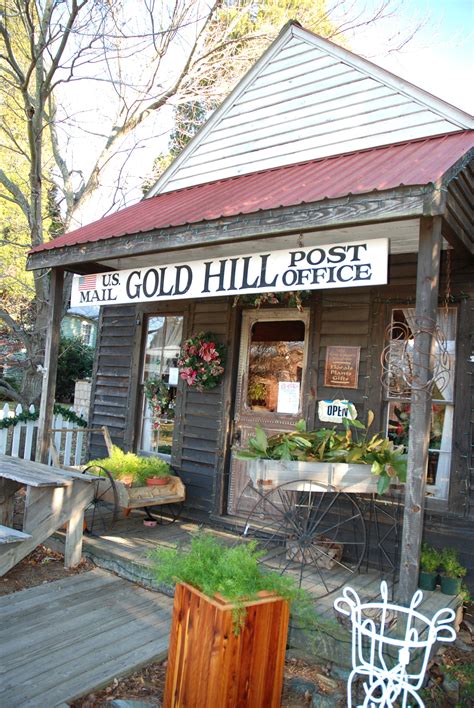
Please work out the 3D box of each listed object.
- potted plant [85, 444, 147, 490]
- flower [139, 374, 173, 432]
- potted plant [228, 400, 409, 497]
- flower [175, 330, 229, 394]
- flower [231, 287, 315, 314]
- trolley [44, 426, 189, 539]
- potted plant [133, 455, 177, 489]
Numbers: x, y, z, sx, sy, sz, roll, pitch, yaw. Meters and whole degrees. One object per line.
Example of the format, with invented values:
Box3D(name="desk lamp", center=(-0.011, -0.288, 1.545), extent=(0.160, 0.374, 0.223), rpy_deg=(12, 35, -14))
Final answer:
Box3D(name="potted plant", center=(-1.283, 1.231, 5.552), extent=(0.553, 0.326, 0.720), rpy_deg=(4, -7, 20))
Box3D(name="flower", center=(-1.014, 0.666, 6.818), extent=(0.439, 0.668, 0.373), rpy_deg=(5, -3, 11))
Box3D(name="potted plant", center=(0.599, 0.725, 3.552), extent=(0.900, 0.370, 0.776), rpy_deg=(-2, 1, -1))
Box3D(name="flower", center=(-0.392, 0.096, 5.826), extent=(0.536, 0.656, 0.251), rpy_deg=(10, 6, 44))
Box3D(name="flower", center=(0.351, -0.561, 5.448), extent=(0.317, 0.208, 1.057), rpy_deg=(13, -9, -42))
Box3D(name="trolley", center=(-1.354, 1.394, 5.840), extent=(1.044, 1.177, 1.678), rpy_deg=(5, -6, -43))
Box3D(name="potted plant", center=(-0.944, 1.304, 5.668), extent=(0.314, 0.227, 0.294), rpy_deg=(-1, -9, 10))
